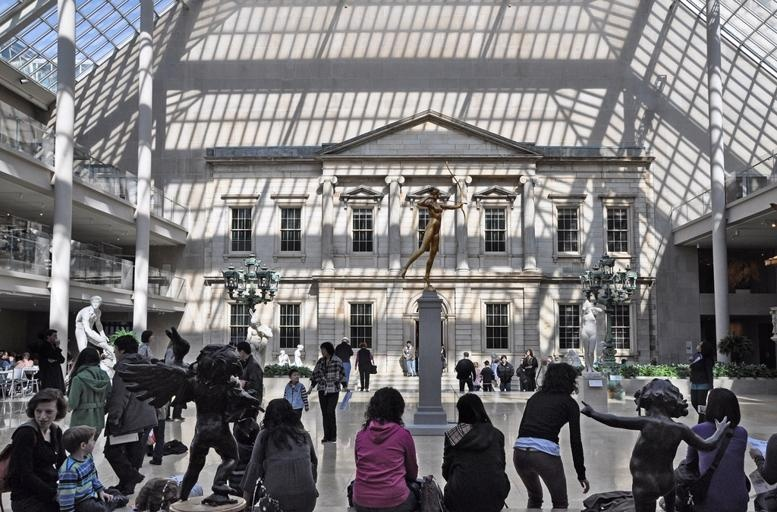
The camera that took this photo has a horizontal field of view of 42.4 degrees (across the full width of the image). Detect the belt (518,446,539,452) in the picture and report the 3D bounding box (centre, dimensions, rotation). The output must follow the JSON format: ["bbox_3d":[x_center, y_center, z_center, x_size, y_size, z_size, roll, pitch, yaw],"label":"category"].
[{"bbox_3d":[3.912,5.396,28.033,0.463,0.126,0.035,-1,-11,5],"label":"belt"}]

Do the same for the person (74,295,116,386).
[{"bbox_3d":[-10.460,2.962,35.457,1.134,3.132,0.875,1,-3,0],"label":"person"}]

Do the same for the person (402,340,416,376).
[{"bbox_3d":[1.025,5.104,50.122,0.622,1.881,0.919,2,-11,-7],"label":"person"}]
